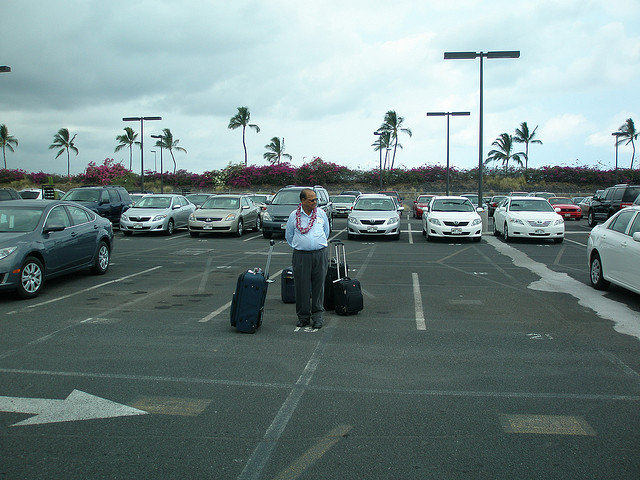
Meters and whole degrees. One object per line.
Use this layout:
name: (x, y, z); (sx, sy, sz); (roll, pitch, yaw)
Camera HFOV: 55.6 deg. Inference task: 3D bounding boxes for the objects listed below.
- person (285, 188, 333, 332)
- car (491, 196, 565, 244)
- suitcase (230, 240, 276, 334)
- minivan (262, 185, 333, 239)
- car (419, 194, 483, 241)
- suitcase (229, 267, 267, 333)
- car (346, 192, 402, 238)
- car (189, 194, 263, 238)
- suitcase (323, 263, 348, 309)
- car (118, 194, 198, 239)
person: (-0.166, 0.279, 8.564); (0.590, 1.984, 0.448); (-1, 8, -3)
car: (7.416, -0.719, 22.040); (1.301, 1.076, 3.199); (0, -1, 6)
suitcase: (-0.934, 0.621, 8.606); (0.654, 1.242, 0.719); (4, 7, -2)
minivan: (-0.783, -1.216, 23.812); (2.066, 1.916, 4.434); (1, 7, 13)
car: (4.684, -0.697, 21.584); (1.758, 1.461, 2.183); (0, 8, 4)
suitcase: (-0.985, 0.838, 8.388); (0.485, 0.785, 0.260); (-1, 8, -5)
car: (1.986, -0.785, 22.458); (1.780, 1.530, 2.503); (0, 8, 2)
car: (-3.638, -0.967, 23.794); (1.868, 1.514, 3.188); (2, 8, 17)
suitcase: (0.239, 0.726, 9.829); (0.312, 0.774, 0.535); (1, 8, 10)
car: (-6.237, -0.937, 24.473); (1.588, 1.182, 3.410); (1, 2, 10)
